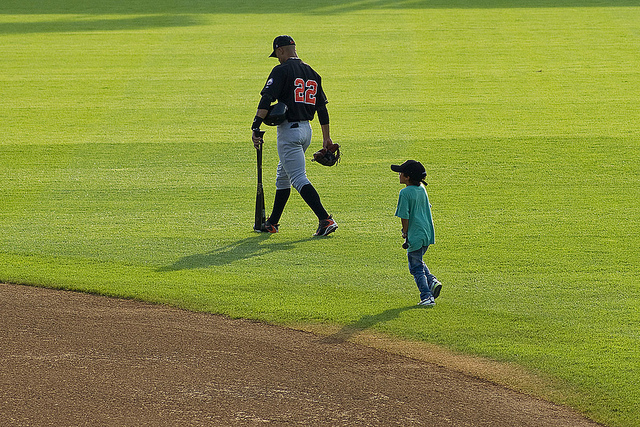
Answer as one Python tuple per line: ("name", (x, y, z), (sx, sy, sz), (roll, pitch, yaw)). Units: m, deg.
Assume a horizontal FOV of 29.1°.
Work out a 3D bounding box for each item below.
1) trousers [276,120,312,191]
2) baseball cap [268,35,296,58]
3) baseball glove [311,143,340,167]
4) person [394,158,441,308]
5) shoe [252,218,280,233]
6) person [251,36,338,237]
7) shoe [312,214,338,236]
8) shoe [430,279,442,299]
("trousers", (-0.459, -0.947, 19.939), (0.535, 1.131, 0.488), (2, 12, -3))
("baseball cap", (-0.689, -2.727, 20.089), (0.468, 0.217, 0.294), (-10, 14, 25))
("baseball glove", (0.096, -0.975, 20.279), (0.470, 0.299, 0.166), (-31, 9, -20))
("person", (1.392, 0.281, 17.810), (0.705, 2.068, 0.557), (3, 12, 1))
("shoe", (-0.916, 0.213, 20.116), (0.417, 0.149, 0.123), (3, 4, 11))
("person", (-0.443, -1.257, 19.951), (1.327, 3.180, 0.837), (3, 12, 0))
("shoe", (0.049, 0.190, 19.929), (0.388, 0.337, 0.178), (1, 12, -4))
("shoe", (1.635, 1.065, 17.777), (0.122, 0.289, 0.133), (-4, 42, 2))
